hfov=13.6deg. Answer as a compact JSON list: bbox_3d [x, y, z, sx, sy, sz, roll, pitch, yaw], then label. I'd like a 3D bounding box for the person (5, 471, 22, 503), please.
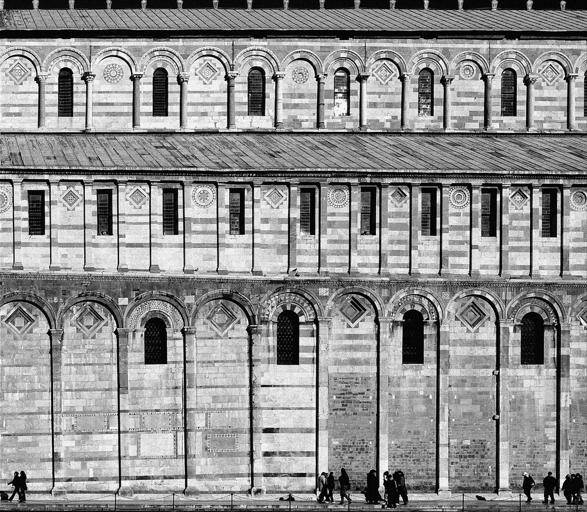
[{"bbox_3d":[-13.056,10.893,114.525,0.629,1.440,1.474,0,-6,-8],"label":"person"}]
